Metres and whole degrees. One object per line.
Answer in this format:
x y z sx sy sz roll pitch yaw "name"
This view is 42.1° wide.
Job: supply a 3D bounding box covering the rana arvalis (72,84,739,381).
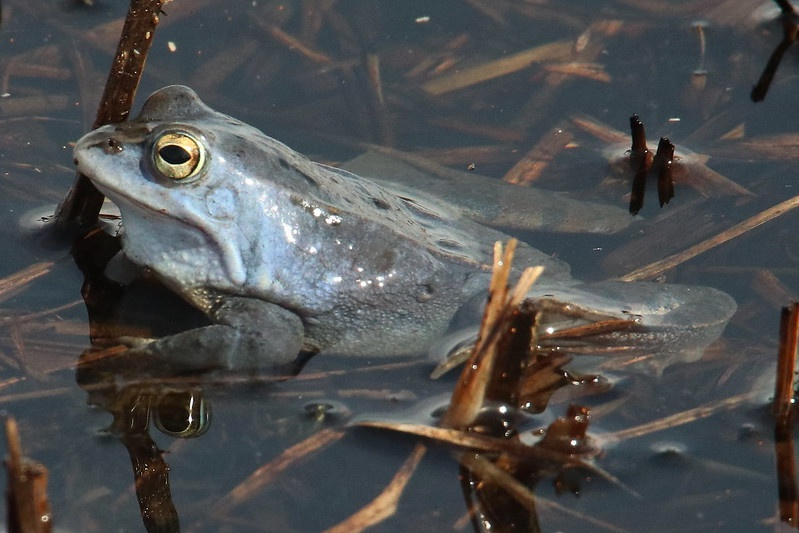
-0.153 -0.144 6.270 4.080 2.165 1.069 7 -66 -16 "rana arvalis"
